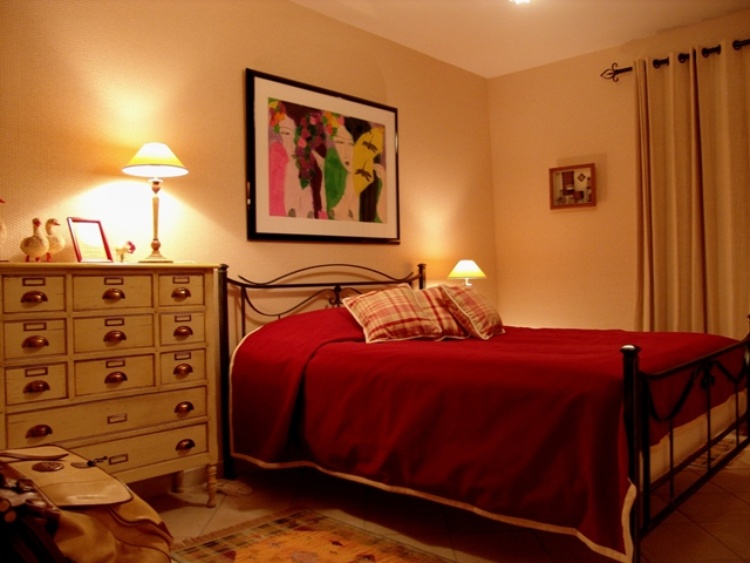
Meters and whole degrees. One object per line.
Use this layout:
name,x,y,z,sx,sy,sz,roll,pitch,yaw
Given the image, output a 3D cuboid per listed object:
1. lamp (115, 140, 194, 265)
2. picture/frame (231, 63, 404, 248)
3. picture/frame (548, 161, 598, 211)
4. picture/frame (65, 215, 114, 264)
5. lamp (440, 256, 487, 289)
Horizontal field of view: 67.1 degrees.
lamp,-1.212,-0.456,3.128,0.345,0.697,0.512,-3,2,-21
picture/frame,-0.343,-0.857,4.083,1.336,1.148,0.073,-4,3,-40
picture/frame,1.791,-0.865,5.072,0.444,0.434,0.031,5,5,43
picture/frame,-1.513,-0.219,2.973,0.042,0.360,0.263,-34,-25,32
lamp,0.758,-0.081,4.817,0.272,0.190,0.273,-1,-1,-9
